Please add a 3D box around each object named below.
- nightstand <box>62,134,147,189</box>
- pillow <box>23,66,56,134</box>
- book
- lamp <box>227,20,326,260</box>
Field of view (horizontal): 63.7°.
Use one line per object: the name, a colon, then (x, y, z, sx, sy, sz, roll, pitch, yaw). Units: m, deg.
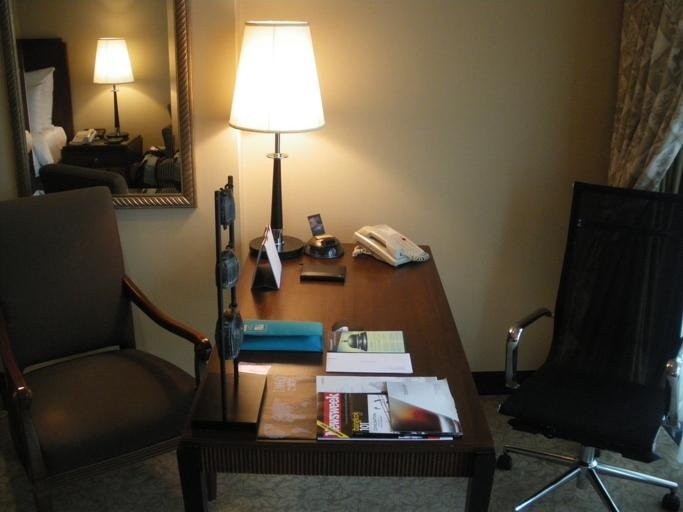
nightstand: (-1.261, -0.468, 2.909, 0.302, 0.333, 0.235, -3, 28, -10)
pillow: (-1.489, -0.785, 2.696, 0.221, 0.276, 0.089, 9, 11, 4)
book: (0.145, 0.430, 1.966, 0.474, 0.147, 0.543, 0, 17, -2)
lamp: (-0.313, -0.543, 2.643, 0.437, 1.122, 0.293, -3, 15, -13)
